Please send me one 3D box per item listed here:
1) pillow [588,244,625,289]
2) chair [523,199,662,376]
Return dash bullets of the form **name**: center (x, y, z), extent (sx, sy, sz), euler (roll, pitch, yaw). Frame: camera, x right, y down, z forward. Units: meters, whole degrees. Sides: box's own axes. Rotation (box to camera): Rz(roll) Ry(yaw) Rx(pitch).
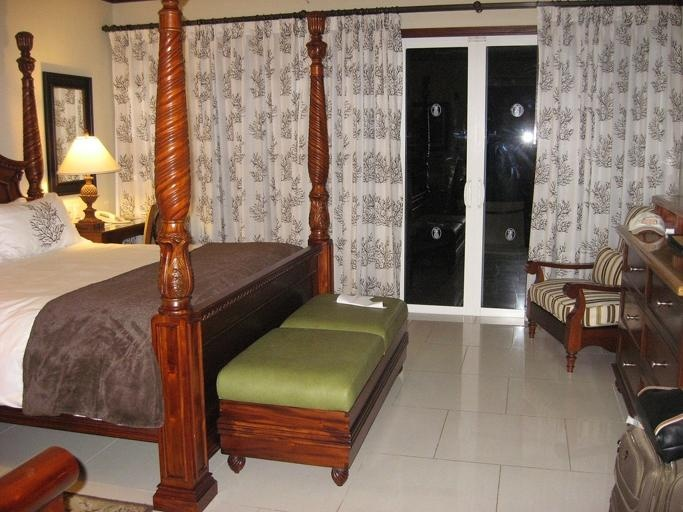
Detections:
- **pillow**: center (2.306, 0.131, 4.452), extent (0.346, 0.244, 0.127), euler (10, 28, -9)
- **chair**: center (2.190, 0.229, 4.340), extent (0.995, 1.172, 0.952), euler (-6, 13, -14)
